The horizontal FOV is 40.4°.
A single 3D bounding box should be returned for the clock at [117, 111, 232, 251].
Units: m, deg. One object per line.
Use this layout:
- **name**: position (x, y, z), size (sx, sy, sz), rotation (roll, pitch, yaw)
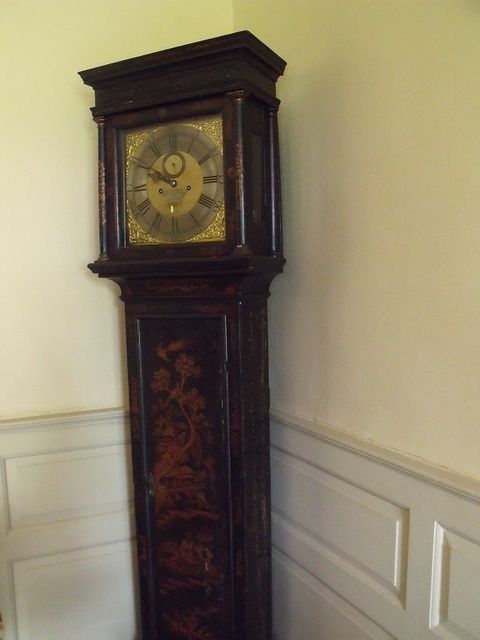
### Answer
- **clock**: position (-0.145, -0.338, 1.541), size (0.346, 0.351, 0.030), rotation (1, 2, 28)
